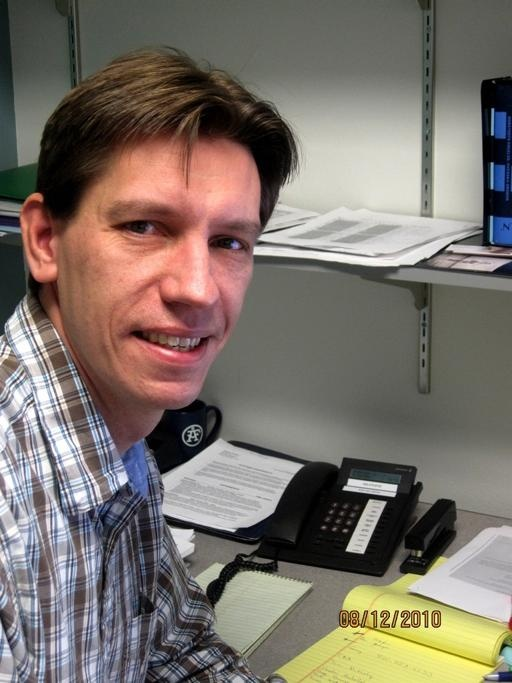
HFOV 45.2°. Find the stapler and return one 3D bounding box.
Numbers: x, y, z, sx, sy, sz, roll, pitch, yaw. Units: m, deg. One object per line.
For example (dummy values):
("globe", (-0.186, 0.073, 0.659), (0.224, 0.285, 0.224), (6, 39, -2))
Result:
("stapler", (0.324, 0.351, 1.129), (0.054, 0.060, 0.232), (2, 11, 35))

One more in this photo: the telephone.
("telephone", (0.150, 0.309, 1.138), (0.212, 0.072, 0.304), (6, 22, 28))

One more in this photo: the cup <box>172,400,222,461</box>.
("cup", (-0.147, 0.218, 1.487), (0.098, 0.125, 0.154), (4, 6, 38))
